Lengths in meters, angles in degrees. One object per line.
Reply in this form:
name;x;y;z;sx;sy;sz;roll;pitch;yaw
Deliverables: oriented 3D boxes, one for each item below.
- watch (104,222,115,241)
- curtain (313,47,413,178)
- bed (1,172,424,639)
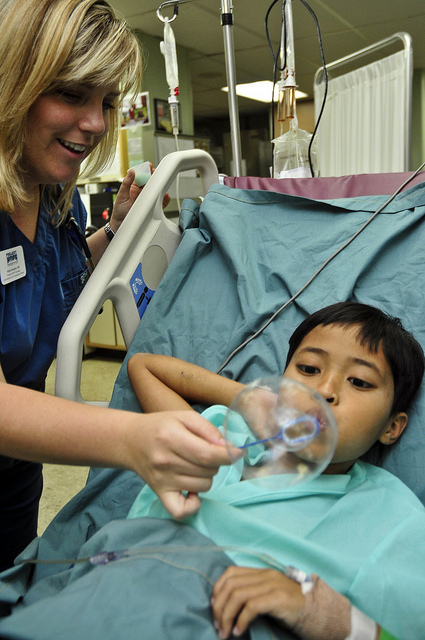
watch;-0.282;-0.241;1.427;0.019;0.040;0.047;-24;10;-9
curtain;0.655;-0.875;2.316;0.105;0.492;0.733;-7;10;-19
bed;0.069;0.056;1.083;0.603;0.477;1.053;10;55;16
